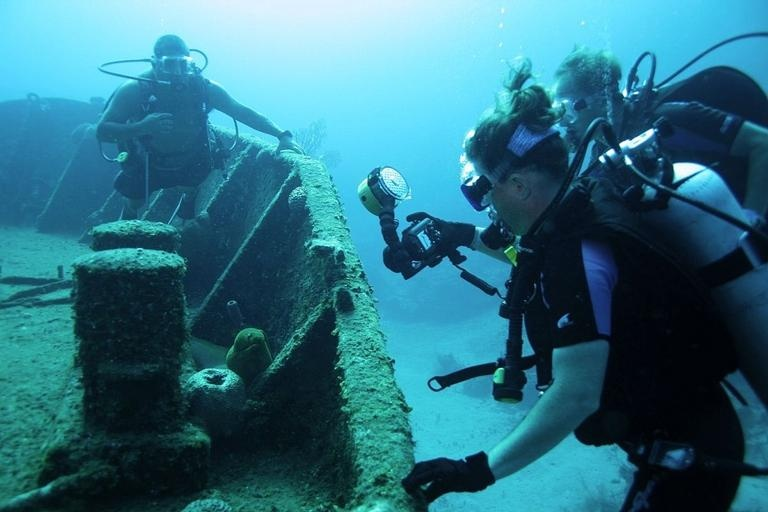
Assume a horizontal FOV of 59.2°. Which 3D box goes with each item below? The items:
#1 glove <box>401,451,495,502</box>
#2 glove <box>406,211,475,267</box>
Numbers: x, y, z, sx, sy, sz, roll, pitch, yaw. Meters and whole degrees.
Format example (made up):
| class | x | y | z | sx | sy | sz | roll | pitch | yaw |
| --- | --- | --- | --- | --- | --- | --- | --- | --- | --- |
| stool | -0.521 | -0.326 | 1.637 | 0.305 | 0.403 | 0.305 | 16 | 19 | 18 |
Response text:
| class | x | y | z | sx | sy | sz | roll | pitch | yaw |
| --- | --- | --- | --- | --- | --- | --- | --- | --- | --- |
| glove | 0.503 | 1.672 | 5.173 | 0.683 | 0.461 | 0.213 | 11 | 8 | 13 |
| glove | 0.519 | -0.170 | 6.136 | 0.507 | 0.472 | 0.209 | -5 | -5 | -27 |
